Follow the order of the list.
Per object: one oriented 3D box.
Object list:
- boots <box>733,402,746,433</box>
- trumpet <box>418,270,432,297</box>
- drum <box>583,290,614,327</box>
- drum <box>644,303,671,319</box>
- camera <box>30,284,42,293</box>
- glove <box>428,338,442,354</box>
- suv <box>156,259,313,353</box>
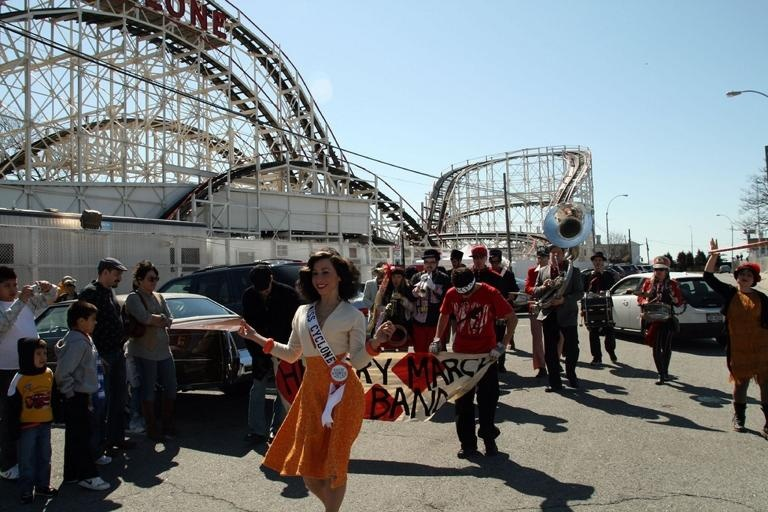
[{"bbox_3d":[4.499,2.025,7.508,0.134,0.321,0.338,1,5,30],"label":"boots"},{"bbox_3d":[0.619,0.435,9.038,0.199,0.342,0.322,23,-24,-38],"label":"trumpet"},{"bbox_3d":[4.075,1.042,11.397,0.633,0.644,0.642,0,-12,0],"label":"drum"},{"bbox_3d":[4.438,0.913,9.663,0.437,0.293,0.224,0,5,23],"label":"drum"},{"bbox_3d":[-4.125,0.387,7.013,0.088,0.096,0.158,-18,14,-43],"label":"camera"},{"bbox_3d":[0.617,1.103,7.164,0.112,0.138,0.156,-7,-3,18],"label":"glove"},{"bbox_3d":[-2.692,0.863,11.143,3.071,1.368,1.483,3,2,30],"label":"suv"}]
